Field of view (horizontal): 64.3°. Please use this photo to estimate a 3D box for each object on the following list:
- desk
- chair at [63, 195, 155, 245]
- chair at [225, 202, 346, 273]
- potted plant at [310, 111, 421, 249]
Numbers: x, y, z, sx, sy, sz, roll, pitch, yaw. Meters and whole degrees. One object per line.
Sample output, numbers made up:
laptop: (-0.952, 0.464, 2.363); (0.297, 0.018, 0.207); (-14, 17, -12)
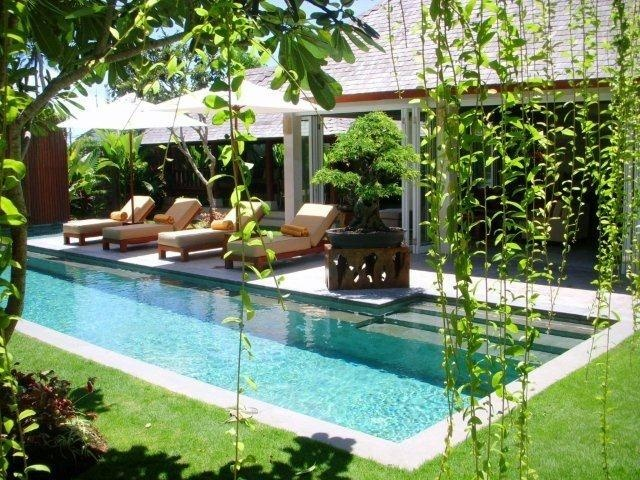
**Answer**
desk: (0.867, 0.507, 8.699); (1.138, 0.619, 0.807); (-1, 5, 3)
chair: (-6.177, -0.579, 14.788); (1.138, 1.338, 2.197); (10, 13, 32)
chair: (-0.715, -0.083, 10.593); (1.266, 1.404, 2.384); (3, 6, 42)
potted plant: (0.750, -1.113, 9.569); (2.413, 3.155, 2.108); (0, 1, -8)
